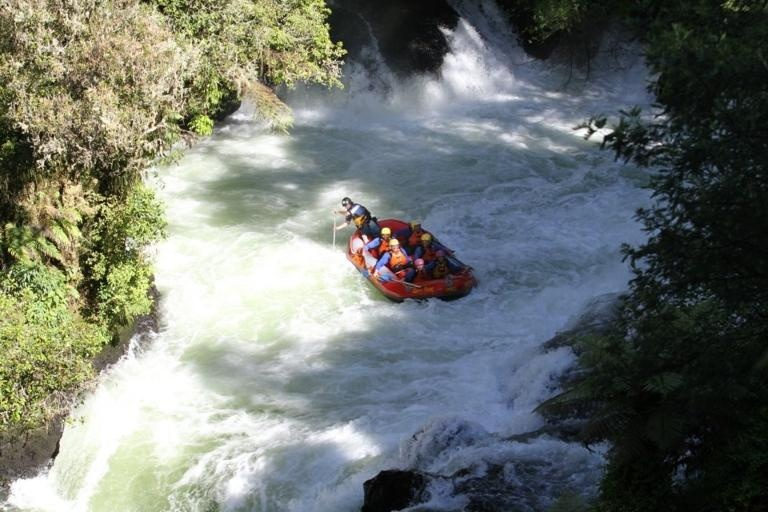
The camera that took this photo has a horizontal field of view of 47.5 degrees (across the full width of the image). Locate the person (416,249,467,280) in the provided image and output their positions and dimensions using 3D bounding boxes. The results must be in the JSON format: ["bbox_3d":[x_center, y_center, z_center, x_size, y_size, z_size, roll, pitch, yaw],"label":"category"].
[{"bbox_3d":[1.565,0.256,23.862,0.795,0.460,1.077,4,17,6],"label":"person"}]

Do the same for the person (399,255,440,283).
[{"bbox_3d":[0.967,0.347,23.750,0.992,0.326,0.776,-9,16,22],"label":"person"}]

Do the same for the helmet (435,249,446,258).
[{"bbox_3d":[1.549,-0.091,23.771,0.193,0.131,0.159,-6,6,32],"label":"helmet"}]

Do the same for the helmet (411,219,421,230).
[{"bbox_3d":[0.922,-0.901,24.586,0.228,0.257,0.303,-10,15,-15],"label":"helmet"}]

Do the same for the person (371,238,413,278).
[{"bbox_3d":[0.222,0.058,24.048,1.026,0.412,1.264,-1,58,-17],"label":"person"}]

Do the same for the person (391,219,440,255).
[{"bbox_3d":[0.990,-0.371,25.083,1.435,1.769,0.646,-2,52,3],"label":"person"}]

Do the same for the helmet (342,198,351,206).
[{"bbox_3d":[-1.088,-1.610,25.541,0.229,0.253,0.307,-26,8,1],"label":"helmet"}]
